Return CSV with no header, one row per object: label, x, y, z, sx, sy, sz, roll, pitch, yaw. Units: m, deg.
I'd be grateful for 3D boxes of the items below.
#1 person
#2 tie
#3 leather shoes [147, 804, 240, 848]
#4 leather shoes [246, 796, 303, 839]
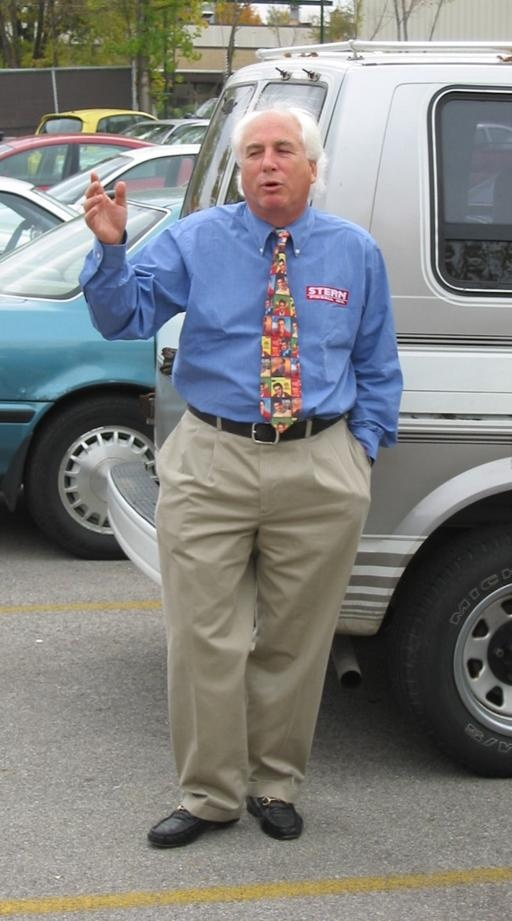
person,-0.025,0.091,2.200,0.818,1.853,0.275,0,9,-13
tie,0.064,-0.299,2.076,0.099,0.473,0.117,3,9,2
leather shoes,-0.153,0.946,2.373,0.261,0.106,0.085,-2,10,-26
leather shoes,0.059,0.956,2.397,0.074,0.057,0.148,3,3,-28
